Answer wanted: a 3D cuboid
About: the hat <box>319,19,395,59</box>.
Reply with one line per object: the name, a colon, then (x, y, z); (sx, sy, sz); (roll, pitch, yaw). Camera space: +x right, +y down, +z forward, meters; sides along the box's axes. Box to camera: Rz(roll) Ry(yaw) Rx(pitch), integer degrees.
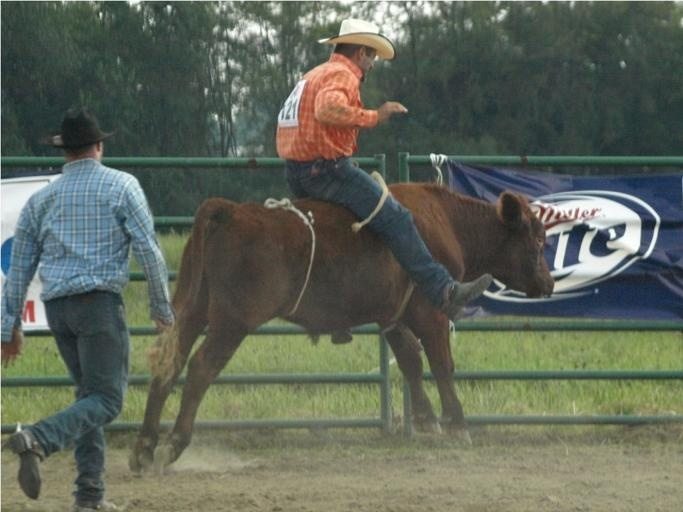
hat: (0.297, -2.844, 23.001); (0.654, 0.278, 0.600); (14, -10, -12)
